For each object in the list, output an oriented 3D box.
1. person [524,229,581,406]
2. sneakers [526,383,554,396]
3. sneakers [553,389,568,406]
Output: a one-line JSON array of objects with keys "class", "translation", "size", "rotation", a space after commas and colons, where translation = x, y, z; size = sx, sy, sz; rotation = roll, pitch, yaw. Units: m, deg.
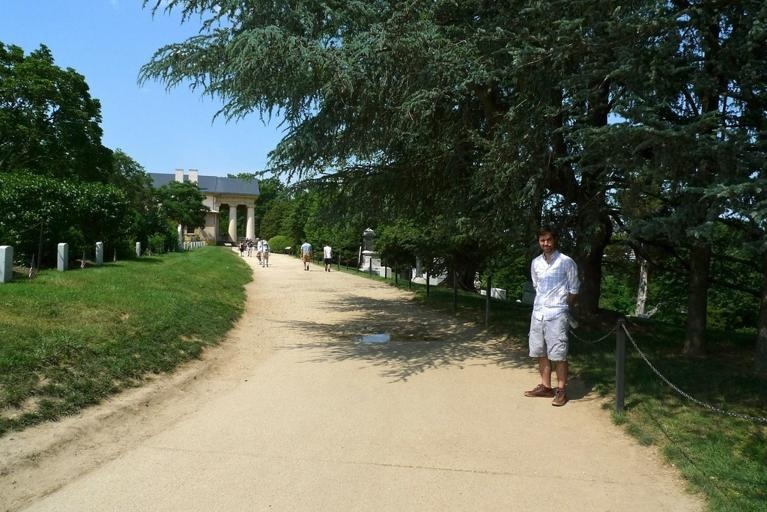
[{"class": "person", "translation": [2.729, 1.011, 9.915], "size": [0.797, 2.857, 0.714], "rotation": [9, 16, 29]}, {"class": "sneakers", "translation": [2.623, 2.303, 10.247], "size": [0.401, 0.181, 0.219], "rotation": [2, -4, 7]}, {"class": "sneakers", "translation": [2.896, 2.293, 9.943], "size": [0.250, 0.270, 0.424], "rotation": [5, 14, 16]}]
